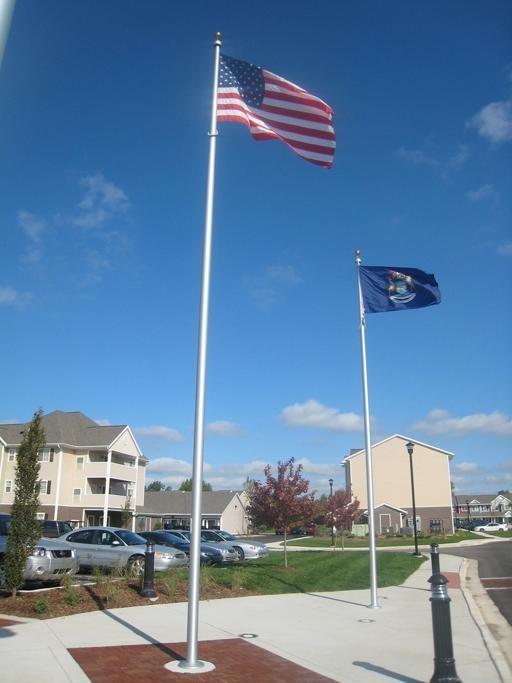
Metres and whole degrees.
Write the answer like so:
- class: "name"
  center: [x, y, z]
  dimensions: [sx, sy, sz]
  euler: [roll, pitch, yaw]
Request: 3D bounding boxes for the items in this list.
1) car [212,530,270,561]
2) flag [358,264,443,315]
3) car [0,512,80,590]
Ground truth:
- class: "car"
  center: [-0.999, 7.856, 22.618]
  dimensions: [2.672, 0.808, 1.086]
  euler: [-6, -14, 18]
- class: "flag"
  center: [3.118, -1.084, 12.848]
  dimensions: [1.706, 1.149, 0.245]
  euler: [-1, -6, 20]
- class: "car"
  center: [-4.777, 4.314, 11.990]
  dimensions: [2.090, 0.965, 1.206]
  euler: [-14, -21, 22]
